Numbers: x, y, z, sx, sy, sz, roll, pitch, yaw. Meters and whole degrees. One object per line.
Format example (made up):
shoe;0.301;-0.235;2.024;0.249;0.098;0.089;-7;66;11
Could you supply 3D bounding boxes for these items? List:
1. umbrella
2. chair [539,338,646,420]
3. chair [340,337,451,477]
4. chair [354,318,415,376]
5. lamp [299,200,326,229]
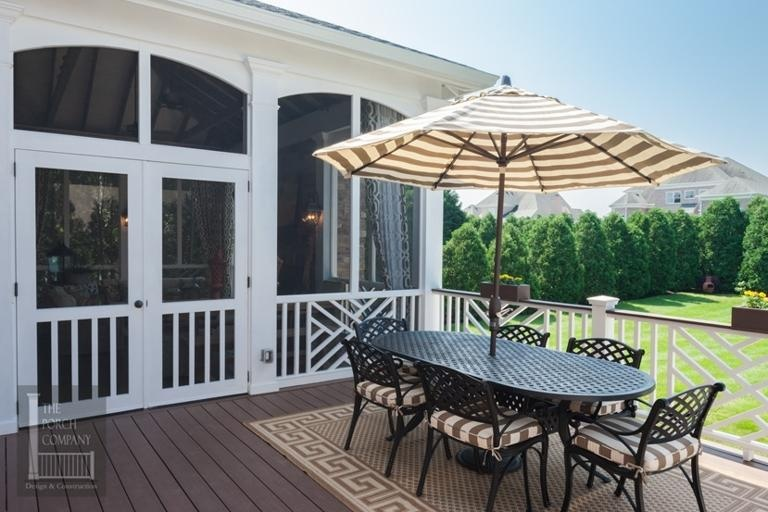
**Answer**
umbrella;1.206;-0.342;5.739;3.278;2.604;2.165;-1;1;4
chair;2.009;1.140;5.862;0.763;1.099;0.731;5;-5;-37
chair;0.109;1.415;5.879;1.015;1.181;0.991;0;4;0
chair;0.048;0.967;6.337;0.581;0.888;0.536;-3;-4;42
lamp;-1.146;-0.666;9.408;0.399;0.473;0.477;1;-4;14
